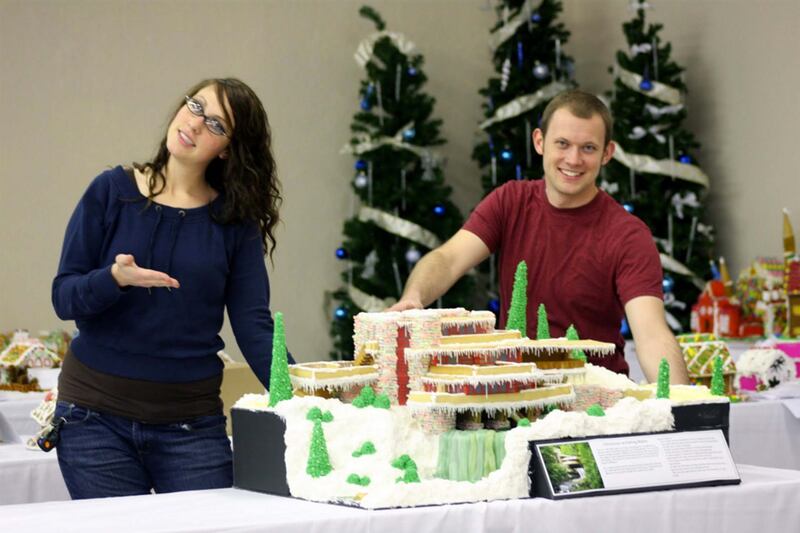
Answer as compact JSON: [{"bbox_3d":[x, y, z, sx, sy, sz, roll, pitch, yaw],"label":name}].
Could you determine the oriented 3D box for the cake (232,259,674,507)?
[{"bbox_3d":[0.081,0.373,3.670,1.025,0.668,0.998,-3,3,-39],"label":"cake"}]
